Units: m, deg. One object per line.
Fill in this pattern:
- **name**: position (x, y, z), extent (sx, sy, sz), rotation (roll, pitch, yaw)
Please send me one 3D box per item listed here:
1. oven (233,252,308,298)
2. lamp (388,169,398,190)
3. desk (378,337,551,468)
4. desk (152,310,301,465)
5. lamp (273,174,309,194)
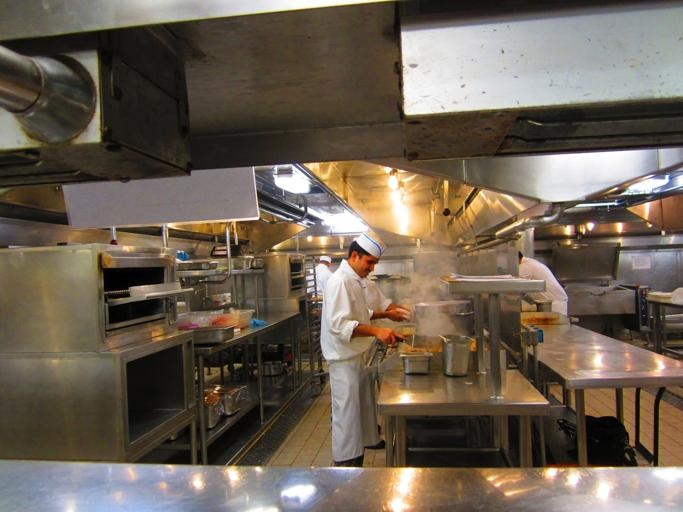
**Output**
- **oven**: position (-0.886, 0.218, 6.505), extent (0.541, 0.513, 0.924), rotation (-4, -6, 26)
- **lamp**: position (0.425, -0.605, 4.298), extent (0.091, 0.152, 0.111), rotation (2, -5, 8)
- **desk**: position (0.615, 0.725, 2.716), extent (0.693, 0.490, 0.821), rotation (-1, -5, 2)
- **desk**: position (-0.862, 1.040, 5.087), extent (1.010, 0.909, 3.099), rotation (-2, 1, -2)
- **lamp**: position (-0.352, -0.533, 3.979), extent (0.168, 0.067, 0.219), rotation (0, 0, -32)
